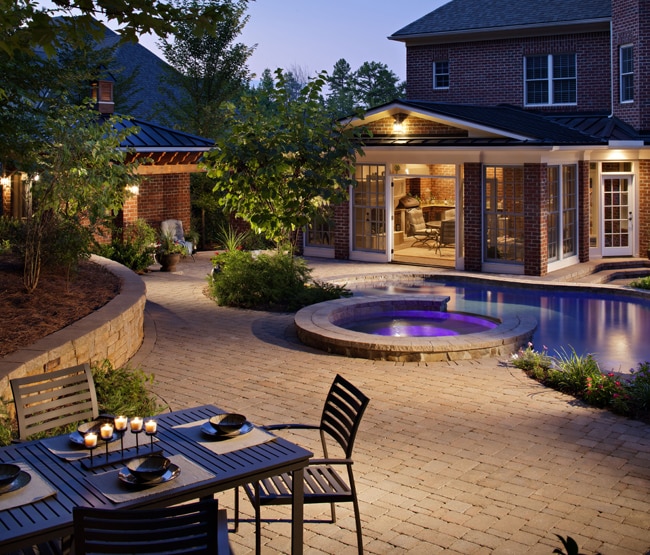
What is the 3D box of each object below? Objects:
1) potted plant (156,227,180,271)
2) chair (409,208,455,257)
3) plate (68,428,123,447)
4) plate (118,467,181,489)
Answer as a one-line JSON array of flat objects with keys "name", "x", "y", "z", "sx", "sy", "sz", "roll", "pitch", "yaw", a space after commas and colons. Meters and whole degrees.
[{"name": "potted plant", "x": -5.181, "y": -0.835, "z": 18.670, "sx": 0.670, "sy": 1.197, "sz": 0.938, "roll": -2, "pitch": 8, "yaw": -22}, {"name": "chair", "x": 4.261, "y": -1.888, "z": 22.907, "sx": 2.363, "sy": 1.356, "sz": 2.168, "roll": 5, "pitch": 11, "yaw": 29}, {"name": "plate", "x": -1.521, "y": 1.056, "z": 3.681, "sx": 0.234, "sy": 0.025, "sz": 0.207, "roll": 0, "pitch": 6, "yaw": -10}, {"name": "plate", "x": -0.972, "y": 1.094, "z": 3.134, "sx": 0.324, "sy": 0.060, "sz": 0.278, "roll": -1, "pitch": 7, "yaw": -17}]
